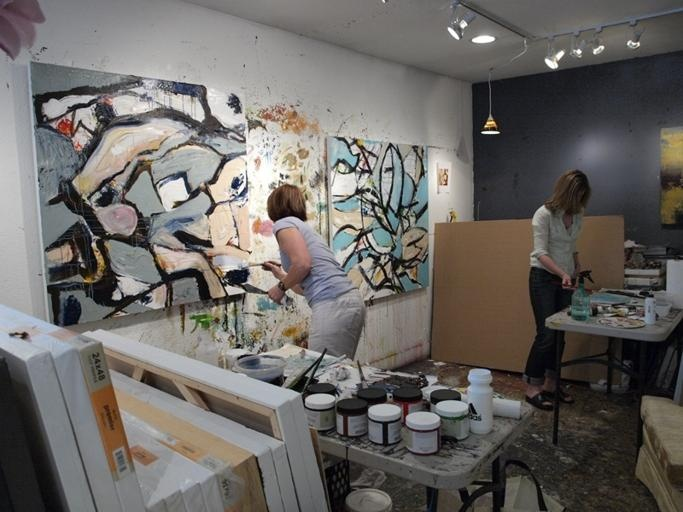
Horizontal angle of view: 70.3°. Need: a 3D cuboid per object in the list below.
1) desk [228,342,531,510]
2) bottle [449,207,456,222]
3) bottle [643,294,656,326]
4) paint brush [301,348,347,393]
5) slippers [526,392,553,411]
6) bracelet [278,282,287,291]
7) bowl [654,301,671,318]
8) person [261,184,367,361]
[{"bbox_3d":[0.223,0.769,2.035,0.682,0.507,0.861,-12,12,-44],"label":"desk"},{"bbox_3d":[1.311,-0.481,5.679,0.047,0.135,0.137,3,10,34],"label":"bottle"},{"bbox_3d":[2.022,0.338,3.176,0.065,0.170,0.188,3,10,33],"label":"bottle"},{"bbox_3d":[-0.082,0.472,2.218,0.042,0.309,0.045,28,-6,44],"label":"paint brush"},{"bbox_3d":[1.634,1.194,4.026,0.081,0.089,0.221,-3,3,-29],"label":"slippers"},{"bbox_3d":[-0.360,0.186,2.968,0.054,0.058,0.054,-4,-27,-10],"label":"bracelet"},{"bbox_3d":[2.226,0.362,3.353,0.105,0.072,0.148,-1,-1,30],"label":"bowl"},{"bbox_3d":[-0.206,0.098,3.022,0.619,1.087,0.368,2,10,32],"label":"person"}]
